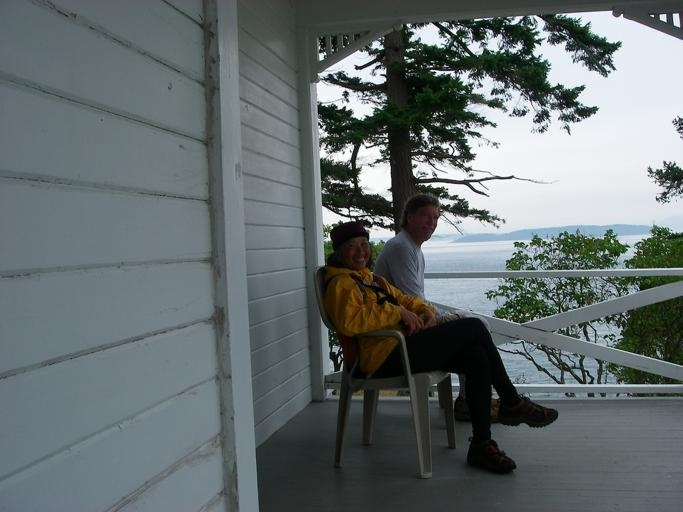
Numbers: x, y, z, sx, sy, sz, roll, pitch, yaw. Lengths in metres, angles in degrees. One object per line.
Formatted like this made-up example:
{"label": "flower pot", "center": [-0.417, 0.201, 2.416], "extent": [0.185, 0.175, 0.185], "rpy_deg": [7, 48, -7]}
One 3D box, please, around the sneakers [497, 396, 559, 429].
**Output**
{"label": "sneakers", "center": [1.014, 0.860, 2.675], "extent": [0.350, 0.186, 0.146], "rpy_deg": [-6, 7, 9]}

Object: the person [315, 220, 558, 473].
{"label": "person", "center": [0.535, 0.448, 2.731], "extent": [1.215, 1.462, 0.603], "rpy_deg": [-8, -7, 18]}

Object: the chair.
{"label": "chair", "center": [0.235, 0.779, 3.241], "extent": [1.029, 1.573, 0.997], "rpy_deg": [-7, -13, 22]}

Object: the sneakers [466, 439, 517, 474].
{"label": "sneakers", "center": [0.826, 1.099, 2.609], "extent": [0.136, 0.162, 0.303], "rpy_deg": [22, -18, -29]}

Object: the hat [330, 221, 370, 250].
{"label": "hat", "center": [0.047, -0.153, 2.842], "extent": [0.189, 0.103, 0.167], "rpy_deg": [-13, -10, -21]}
